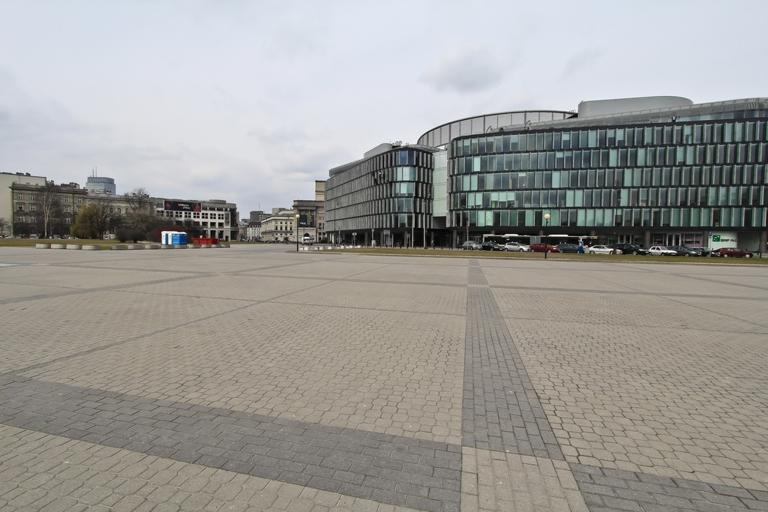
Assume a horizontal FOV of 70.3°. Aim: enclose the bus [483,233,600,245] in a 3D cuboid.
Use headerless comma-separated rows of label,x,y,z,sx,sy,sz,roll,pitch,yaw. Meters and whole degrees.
bus,19.765,-2.007,66.827,12.715,1.418,1.742,1,5,16
